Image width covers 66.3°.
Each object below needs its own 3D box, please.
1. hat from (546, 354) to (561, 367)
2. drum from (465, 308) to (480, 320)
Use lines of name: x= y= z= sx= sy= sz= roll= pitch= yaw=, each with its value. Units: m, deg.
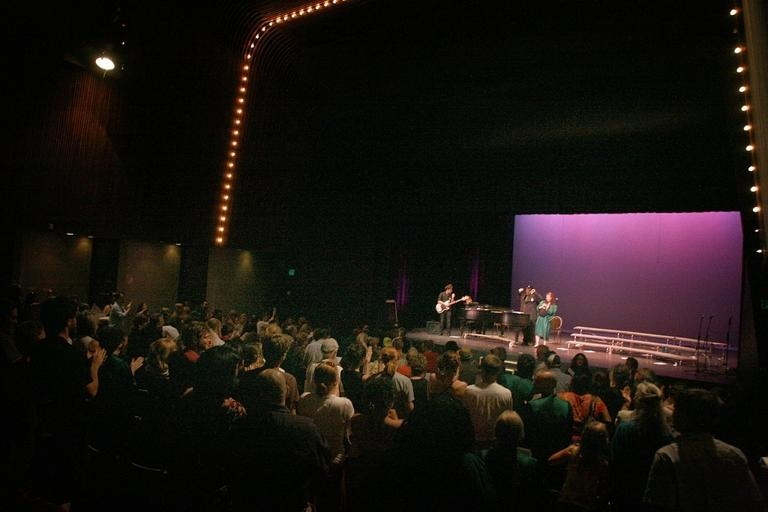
hat: x=2.199 y=1.335 z=7.685 sx=0.147 sy=0.180 sz=0.193 roll=9 pitch=16 yaw=11
drum: x=2.151 y=1.390 z=14.310 sx=0.283 sy=0.212 sz=0.288 roll=3 pitch=-12 yaw=1
